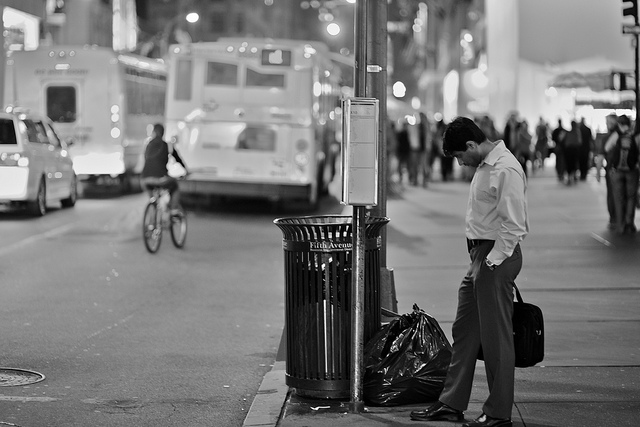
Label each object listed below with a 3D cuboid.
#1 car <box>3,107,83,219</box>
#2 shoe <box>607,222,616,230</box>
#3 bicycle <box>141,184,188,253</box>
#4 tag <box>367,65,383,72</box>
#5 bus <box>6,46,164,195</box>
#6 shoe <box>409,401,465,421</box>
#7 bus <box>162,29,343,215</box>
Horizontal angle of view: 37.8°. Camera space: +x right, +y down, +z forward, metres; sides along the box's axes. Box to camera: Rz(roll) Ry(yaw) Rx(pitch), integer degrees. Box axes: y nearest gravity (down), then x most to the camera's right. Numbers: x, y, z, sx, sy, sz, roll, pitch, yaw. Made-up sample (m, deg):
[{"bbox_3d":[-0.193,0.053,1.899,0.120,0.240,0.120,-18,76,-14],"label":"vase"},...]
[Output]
[{"bbox_3d":[-6.458,-1.157,21.411,0.624,2.452,2.890,0,5,5],"label":"car"},{"bbox_3d":[6.112,0.260,19.608,0.160,0.117,0.316,1,6,17],"label":"shoe"},{"bbox_3d":[-2.961,0.088,17.289,0.510,1.255,1.449,1,5,14],"label":"bicycle"},{"bbox_3d":[0.637,-1.705,11.011,0.121,0.083,0.145,1,5,11],"label":"tag"},{"bbox_3d":[-6.354,-3.028,26.639,4.433,2.458,4.766,1,5,2],"label":"bus"},{"bbox_3d":[1.173,1.967,9.403,0.477,0.232,0.215,4,-2,2],"label":"shoe"},{"bbox_3d":[-1.467,-2.365,24.398,2.783,3.018,5.905,1,4,5],"label":"bus"}]
